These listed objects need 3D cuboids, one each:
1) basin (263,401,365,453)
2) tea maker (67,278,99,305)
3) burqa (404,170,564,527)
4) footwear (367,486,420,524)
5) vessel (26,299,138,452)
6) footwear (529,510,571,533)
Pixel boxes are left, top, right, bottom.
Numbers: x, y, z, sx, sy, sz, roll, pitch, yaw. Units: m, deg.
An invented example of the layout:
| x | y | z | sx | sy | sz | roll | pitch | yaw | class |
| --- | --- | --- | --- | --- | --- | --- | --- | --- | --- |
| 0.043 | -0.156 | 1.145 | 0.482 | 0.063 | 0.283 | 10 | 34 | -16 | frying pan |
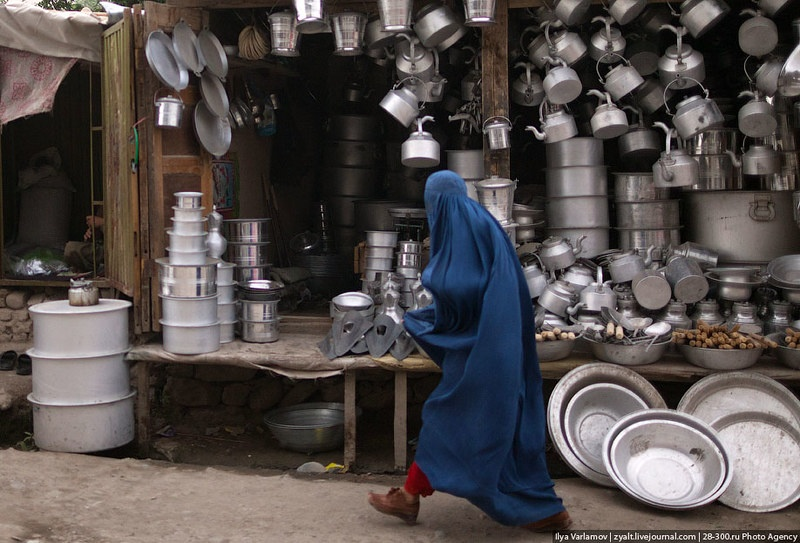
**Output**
| x | y | z | sx | sy | sz | roll | pitch | yaw | class |
| --- | --- | --- | --- | --- | --- | --- | --- | --- | --- |
| -0.842 | 1.402 | 7.394 | 0.516 | 0.162 | 0.489 | -2 | 5 | 0 | basin |
| -2.686 | 0.165 | 6.932 | 0.266 | 0.215 | 0.243 | 0 | -2 | 5 | tea maker |
| 0.568 | 0.499 | 5.354 | 0.972 | 2.293 | 0.550 | 1 | 11 | 10 | burqa |
| -0.038 | 1.603 | 5.675 | 0.463 | 0.230 | 0.158 | 14 | -6 | -5 | footwear |
| -2.726 | 0.903 | 7.100 | 0.932 | 1.117 | 0.890 | -1 | -1 | -25 | vessel |
| 1.016 | 1.685 | 5.562 | 0.355 | 0.130 | 0.119 | -3 | 8 | 2 | footwear |
